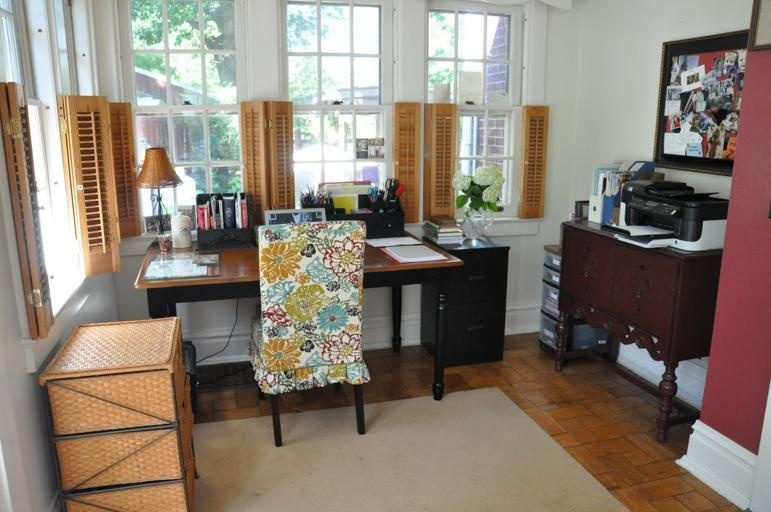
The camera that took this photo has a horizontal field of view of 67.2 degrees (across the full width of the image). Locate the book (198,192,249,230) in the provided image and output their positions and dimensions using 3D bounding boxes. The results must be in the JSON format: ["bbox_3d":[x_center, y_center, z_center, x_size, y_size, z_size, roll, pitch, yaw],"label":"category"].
[{"bbox_3d":[-1.193,-0.331,4.339,0.473,0.353,0.252,-1,10,-11],"label":"book"}]

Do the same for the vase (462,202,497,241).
[{"bbox_3d":[0.752,-0.299,4.862,0.337,0.336,0.212,0,16,-5],"label":"vase"}]

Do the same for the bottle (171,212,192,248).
[{"bbox_3d":[-1.532,-0.207,4.340,0.186,0.252,0.148,-7,15,-30],"label":"bottle"}]

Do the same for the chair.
[{"bbox_3d":[-0.482,0.449,3.974,0.957,1.414,0.971,1,12,8],"label":"chair"}]

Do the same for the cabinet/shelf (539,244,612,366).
[{"bbox_3d":[1.646,0.370,4.915,0.594,0.931,0.547,8,2,3],"label":"cabinet/shelf"}]

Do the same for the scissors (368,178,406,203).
[{"bbox_3d":[0.003,-0.528,4.675,0.252,0.105,0.185,-1,21,-22],"label":"scissors"}]

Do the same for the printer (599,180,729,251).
[{"bbox_3d":[1.864,-0.260,3.820,0.533,0.353,0.576,-7,15,-18],"label":"printer"}]
